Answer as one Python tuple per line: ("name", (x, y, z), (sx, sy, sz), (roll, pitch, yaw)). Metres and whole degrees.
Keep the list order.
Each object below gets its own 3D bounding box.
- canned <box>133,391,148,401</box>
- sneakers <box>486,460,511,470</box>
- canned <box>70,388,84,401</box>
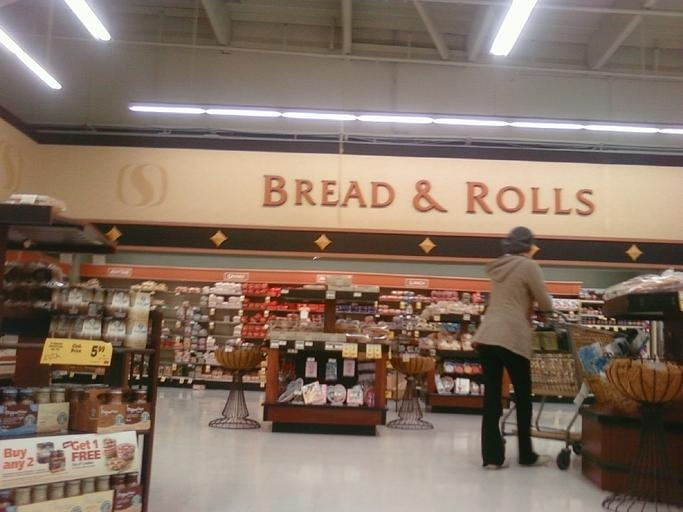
("canned", (-1.242, 0.878, 3.315), (0.074, 0.047, 0.074), (4, -1, -45))
("sneakers", (1.377, 1.868, 4.720), (0.154, 0.057, 0.078), (-13, -7, 15))
("canned", (-1.585, 0.841, 3.202), (0.072, 0.059, 0.069), (-1, -8, 31))
